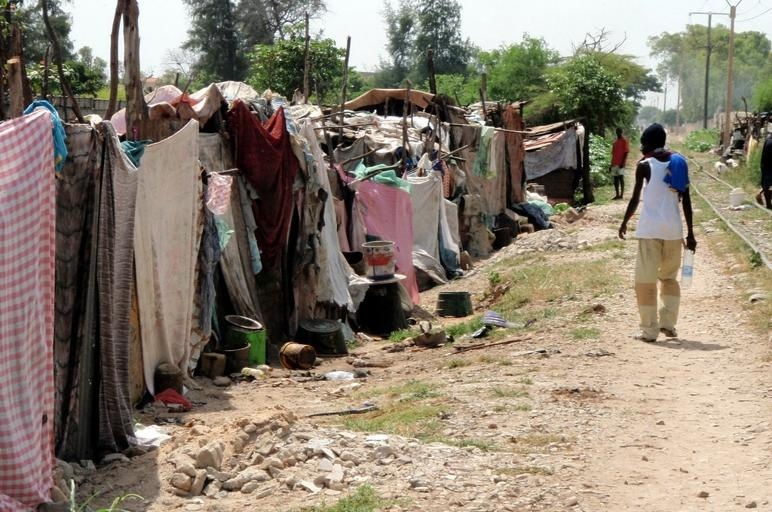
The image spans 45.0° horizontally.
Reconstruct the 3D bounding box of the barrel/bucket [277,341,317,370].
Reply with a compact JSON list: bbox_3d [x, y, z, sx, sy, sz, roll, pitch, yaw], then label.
[{"bbox_3d":[-1.212,1.334,12.510,0.369,0.363,0.392,1,0,0],"label":"barrel/bucket"}]

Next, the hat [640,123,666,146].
[{"bbox_3d":[3.268,-1.501,11.365,0.259,0.302,0.338,7,13,2],"label":"hat"}]

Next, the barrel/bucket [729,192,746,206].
[{"bbox_3d":[8.060,-1.354,21.406,0.278,0.323,0.465,-4,12,17],"label":"barrel/bucket"}]

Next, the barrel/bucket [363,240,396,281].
[{"bbox_3d":[-0.123,0.066,14.246,0.544,0.561,0.527,-1,7,0],"label":"barrel/bucket"}]

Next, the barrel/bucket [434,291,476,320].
[{"bbox_3d":[1.059,0.779,14.867,0.582,0.396,0.432,-6,12,8],"label":"barrel/bucket"}]

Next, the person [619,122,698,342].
[{"bbox_3d":[3.262,-0.282,11.240,0.697,2.579,0.892,1,15,35],"label":"person"}]
